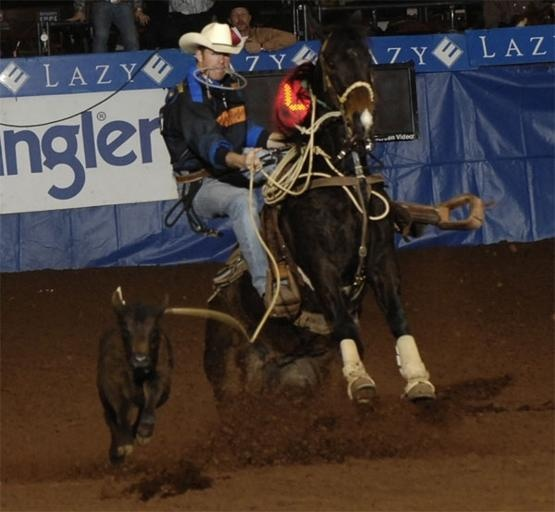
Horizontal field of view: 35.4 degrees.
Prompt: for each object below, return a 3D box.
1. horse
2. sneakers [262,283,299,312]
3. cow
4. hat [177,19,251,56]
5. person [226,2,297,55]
[{"bbox_3d":[0.524,-0.027,7.419,0.947,2.569,3.620,-5,-17,-7],"label":"horse"},{"bbox_3d":[0.027,0.308,6.724,0.265,0.238,0.179,-7,13,-8],"label":"sneakers"},{"bbox_3d":[-1.248,0.972,7.474,0.652,1.314,0.871,-3,9,-5],"label":"cow"},{"bbox_3d":[-0.623,-1.844,7.397,0.445,0.189,0.486,-2,2,-25],"label":"hat"},{"bbox_3d":[-0.220,-2.546,9.956,0.857,0.362,0.568,19,43,10],"label":"person"}]
